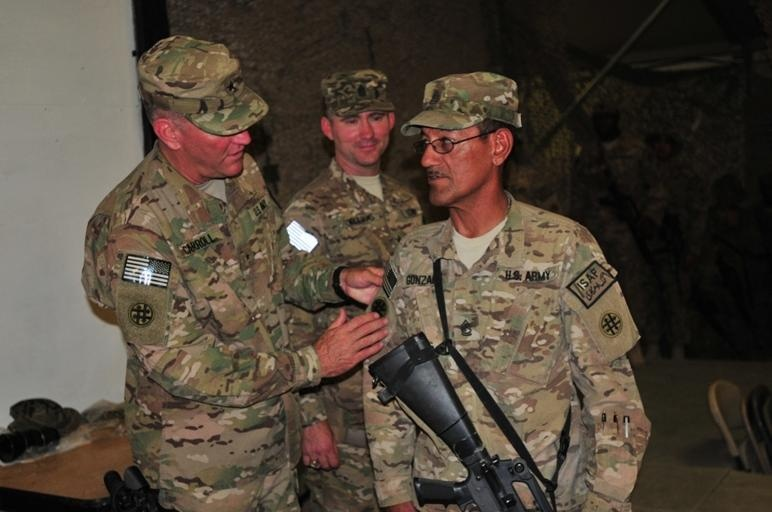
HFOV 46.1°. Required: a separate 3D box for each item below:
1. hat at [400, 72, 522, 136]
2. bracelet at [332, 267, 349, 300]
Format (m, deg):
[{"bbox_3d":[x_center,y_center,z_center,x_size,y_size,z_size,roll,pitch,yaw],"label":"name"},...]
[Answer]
[{"bbox_3d":[0.436,-0.865,5.278,0.533,0.241,0.360,-4,3,-16],"label":"hat"},{"bbox_3d":[-0.301,0.176,5.704,0.055,0.167,0.159,-1,1,-21],"label":"bracelet"}]
